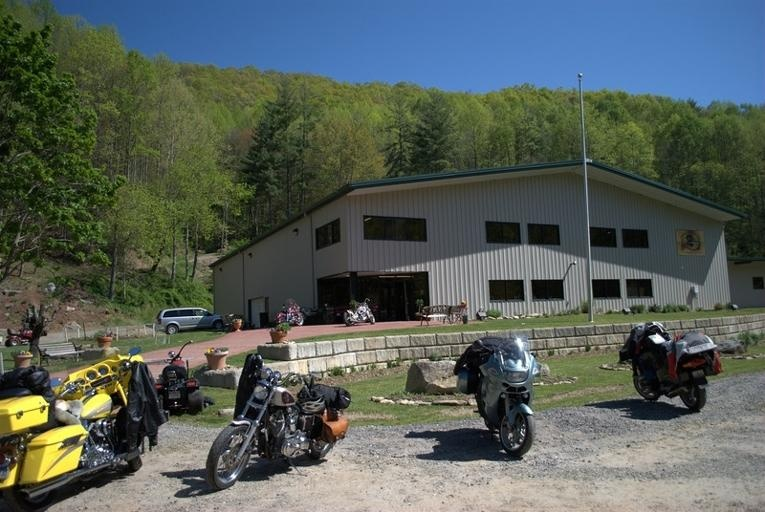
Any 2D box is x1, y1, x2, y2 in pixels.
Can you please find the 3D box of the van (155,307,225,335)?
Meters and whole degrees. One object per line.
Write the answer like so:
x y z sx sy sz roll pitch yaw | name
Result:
-12.163 4.344 37.711 3.880 1.572 1.902 -3 -1 -31 | van

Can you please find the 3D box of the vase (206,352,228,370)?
-4.697 2.950 16.727 0.513 0.355 0.505 4 -13 -45 | vase

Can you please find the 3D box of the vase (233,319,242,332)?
-7.646 3.562 30.869 0.594 0.538 0.644 -8 -6 17 | vase

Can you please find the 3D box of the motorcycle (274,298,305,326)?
-4.703 2.843 30.083 1.119 1.442 2.154 -2 3 40 | motorcycle

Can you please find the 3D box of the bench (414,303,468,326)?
2.867 2.655 28.392 2.081 0.630 3.246 -3 0 -2 | bench

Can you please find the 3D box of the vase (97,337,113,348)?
-11.936 3.640 25.349 0.496 0.409 0.520 5 -9 -28 | vase

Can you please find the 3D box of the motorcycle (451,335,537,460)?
2.243 2.609 11.248 0.733 2.075 1.526 -4 1 -44 | motorcycle

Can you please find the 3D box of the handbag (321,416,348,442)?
-0.873 3.068 10.892 0.412 0.407 0.559 0 -4 -6 | handbag

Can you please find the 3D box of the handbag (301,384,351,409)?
-1.036 2.533 10.768 0.721 0.315 0.479 4 -4 10 | handbag

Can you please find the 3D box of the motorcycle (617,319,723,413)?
6.259 2.378 12.827 0.718 1.778 1.823 -4 1 -39 | motorcycle

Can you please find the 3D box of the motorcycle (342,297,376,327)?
-1.096 2.728 28.465 0.855 0.997 1.707 -20 -18 35 | motorcycle
